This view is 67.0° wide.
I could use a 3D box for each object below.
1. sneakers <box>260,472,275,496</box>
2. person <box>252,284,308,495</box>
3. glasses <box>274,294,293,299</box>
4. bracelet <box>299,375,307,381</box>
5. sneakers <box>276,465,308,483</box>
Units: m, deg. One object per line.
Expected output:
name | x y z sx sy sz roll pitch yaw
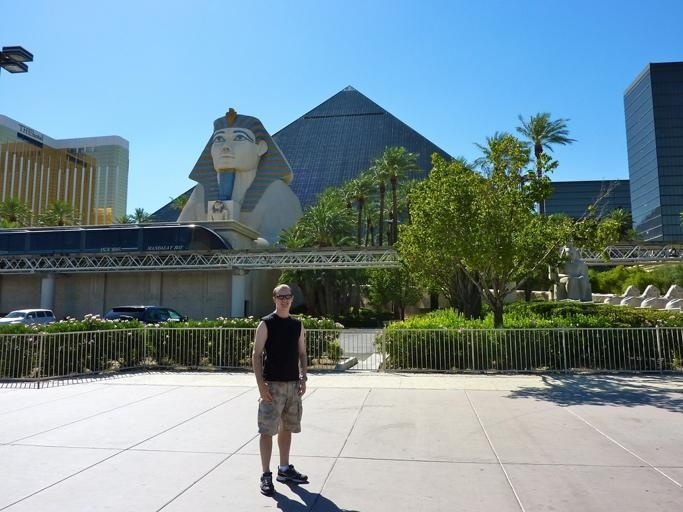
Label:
sneakers | -0.889 2.735 6.215 0.175 0.213 0.264 0 -1 -11
person | -0.756 1.604 6.540 0.746 2.480 0.632 0 -1 -25
glasses | -0.737 0.509 6.591 0.198 0.052 0.135 0 -2 -16
bracelet | -0.491 1.585 6.703 0.057 0.083 0.084 0 -7 8
sneakers | -0.634 2.751 6.546 0.432 0.242 0.159 2 -8 3
